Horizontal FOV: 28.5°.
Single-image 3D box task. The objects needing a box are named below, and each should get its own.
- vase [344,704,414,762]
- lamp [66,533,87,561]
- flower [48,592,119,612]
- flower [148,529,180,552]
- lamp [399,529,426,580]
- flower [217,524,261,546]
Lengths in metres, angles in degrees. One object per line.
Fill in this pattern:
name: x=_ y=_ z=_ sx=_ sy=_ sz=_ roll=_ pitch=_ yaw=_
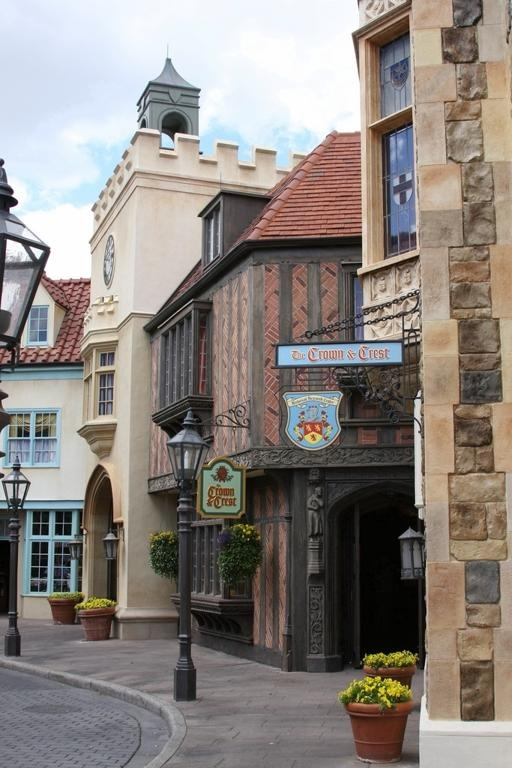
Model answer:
vase: x=0.950 y=2.717 z=7.905 sx=0.462 sy=0.368 sz=0.482 roll=-8 pitch=-22 yaw=18
lamp: x=-5.125 y=4.569 z=28.477 sx=0.373 sy=0.763 sz=2.277 roll=1 pitch=-11 yaw=-12
flower: x=-4.117 y=5.219 z=24.186 sx=1.126 sy=0.421 sz=1.175 roll=1 pitch=-14 yaw=1
flower: x=-1.874 y=3.142 z=20.304 sx=0.492 sy=0.361 sz=0.511 roll=-1 pitch=-5 yaw=15
lamp: x=1.867 y=2.034 z=12.106 sx=0.270 sy=0.594 sz=0.589 roll=-3 pitch=-11 yaw=8
flower: x=-0.251 y=2.405 z=16.096 sx=0.424 sy=0.270 sz=0.444 roll=3 pitch=-7 yaw=-9
